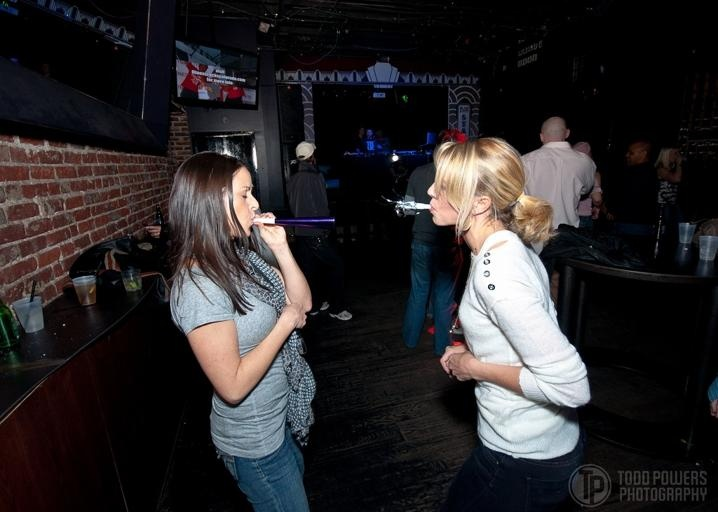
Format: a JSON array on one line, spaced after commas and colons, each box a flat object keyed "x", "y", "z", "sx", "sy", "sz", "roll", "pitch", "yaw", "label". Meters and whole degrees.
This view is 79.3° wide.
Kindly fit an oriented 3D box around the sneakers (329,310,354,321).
[{"x": -0.207, "y": 0.677, "z": 4.967, "sx": 0.227, "sy": 0.091, "sz": 0.116, "roll": 3, "pitch": 11, "yaw": 24, "label": "sneakers"}]

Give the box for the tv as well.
[{"x": -1.835, "y": -2.389, "z": 5.785, "sx": 0.103, "sy": 0.768, "sz": 1.389, "roll": 12, "pitch": 20, "yaw": 22, "label": "tv"}]

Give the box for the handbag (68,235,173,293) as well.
[{"x": -1.698, "y": 0.114, "z": 2.967, "sx": 0.687, "sy": 0.240, "sz": 0.502, "roll": 3, "pitch": 10, "yaw": 31, "label": "handbag"}]

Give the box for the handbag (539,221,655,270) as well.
[{"x": 1.619, "y": -0.050, "z": 3.000, "sx": 0.451, "sy": 0.142, "sz": 0.451, "roll": 3, "pitch": 15, "yaw": 25, "label": "handbag"}]

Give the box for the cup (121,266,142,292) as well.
[{"x": -1.401, "y": 0.146, "z": 2.648, "sx": 0.134, "sy": 0.149, "sz": 0.093, "roll": 1, "pitch": 13, "yaw": -2, "label": "cup"}]
